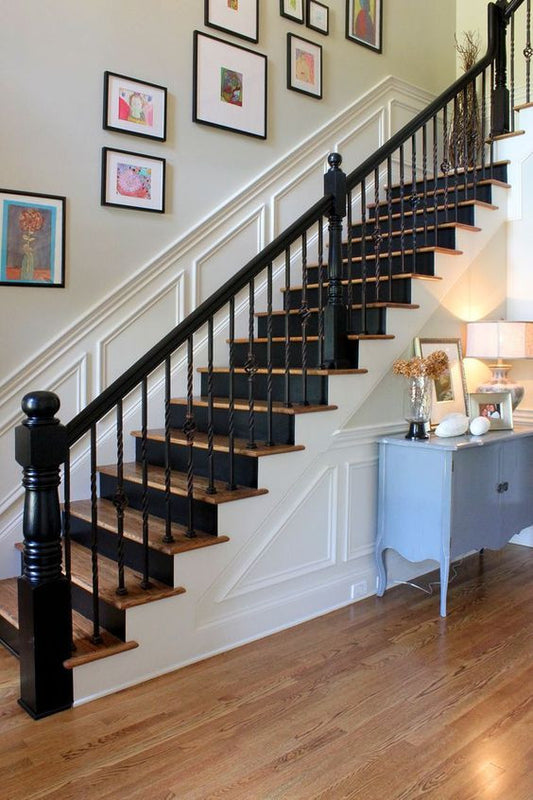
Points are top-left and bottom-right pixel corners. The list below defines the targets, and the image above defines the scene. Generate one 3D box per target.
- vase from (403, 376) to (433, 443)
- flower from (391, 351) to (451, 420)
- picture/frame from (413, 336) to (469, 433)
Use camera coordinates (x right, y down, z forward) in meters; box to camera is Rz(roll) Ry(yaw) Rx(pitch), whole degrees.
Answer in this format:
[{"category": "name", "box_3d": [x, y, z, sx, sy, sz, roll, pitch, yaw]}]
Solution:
[{"category": "vase", "box_3d": [0.705, 0.014, 3.009, 0.110, 0.329, 0.111, -3, 9, -7]}, {"category": "flower", "box_3d": [0.710, -0.058, 2.967, 0.213, 0.314, 0.130, -1, 2, -26]}, {"category": "picture/frame", "box_3d": [0.860, -0.071, 3.217, 0.035, 0.557, 0.446, -5, -5, 36]}]
